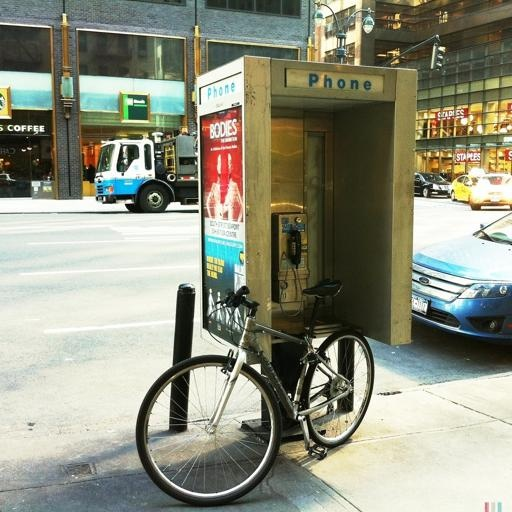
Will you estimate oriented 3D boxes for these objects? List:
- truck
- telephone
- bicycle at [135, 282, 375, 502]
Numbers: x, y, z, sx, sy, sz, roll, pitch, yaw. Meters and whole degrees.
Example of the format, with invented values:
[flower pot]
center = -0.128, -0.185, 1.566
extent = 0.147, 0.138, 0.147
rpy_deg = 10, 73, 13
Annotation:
[truck]
center = -4.326, -3.305, 22.601
extent = 3.876, 3.128, 0.945
rpy_deg = -1, 4, -13
[telephone]
center = 0.247, -0.044, 3.942
extent = 0.280, 0.509, 0.208
rpy_deg = 0, 4, -9
[bicycle]
center = 0.105, 0.730, 3.350
extent = 1.076, 1.248, 1.624
rpy_deg = -1, 10, -29
